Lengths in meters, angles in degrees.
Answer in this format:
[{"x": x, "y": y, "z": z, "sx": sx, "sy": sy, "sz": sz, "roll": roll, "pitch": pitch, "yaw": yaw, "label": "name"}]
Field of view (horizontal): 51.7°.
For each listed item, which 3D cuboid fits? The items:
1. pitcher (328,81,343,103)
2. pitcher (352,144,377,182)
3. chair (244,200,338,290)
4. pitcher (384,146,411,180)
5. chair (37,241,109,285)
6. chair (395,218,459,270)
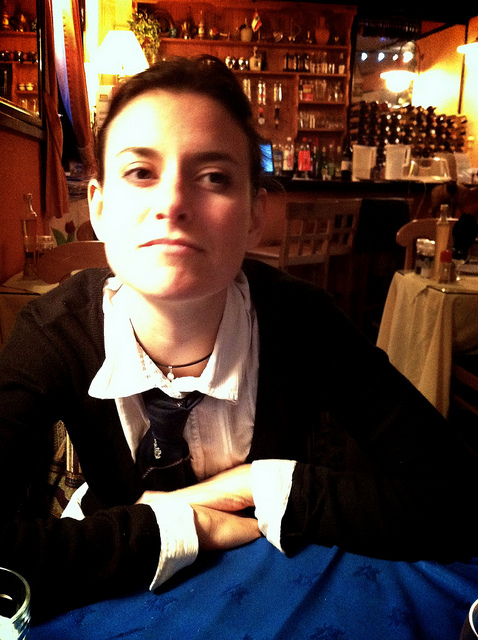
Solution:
[{"x": 1.330, "y": -3.161, "z": 6.779, "sx": 0.228, "sy": 0.268, "sz": 0.137, "roll": -6, "pitch": 19, "yaw": -21, "label": "pitcher"}, {"x": 1.157, "y": -1.471, "z": 4.599, "sx": 0.204, "sy": 0.307, "sz": 0.470, "roll": 5, "pitch": 19, "yaw": 11, "label": "pitcher"}, {"x": 0.384, "y": -0.572, "z": 3.548, "sx": 0.522, "sy": 0.654, "sz": 1.182, "roll": 2, "pitch": 19, "yaw": 2, "label": "chair"}, {"x": 1.508, "y": -1.503, "z": 4.685, "sx": 0.232, "sy": 0.300, "sz": 0.249, "roll": 3, "pitch": 18, "yaw": 5, "label": "pitcher"}, {"x": -0.549, "y": -0.196, "z": 1.644, "sx": 0.247, "sy": 0.169, "sz": 0.136, "roll": 12, "pitch": 20, "yaw": 27, "label": "chair"}, {"x": 1.091, "y": -0.465, "z": 2.871, "sx": 0.278, "sy": 0.428, "sz": 0.326, "roll": 4, "pitch": 31, "yaw": 30, "label": "chair"}]
